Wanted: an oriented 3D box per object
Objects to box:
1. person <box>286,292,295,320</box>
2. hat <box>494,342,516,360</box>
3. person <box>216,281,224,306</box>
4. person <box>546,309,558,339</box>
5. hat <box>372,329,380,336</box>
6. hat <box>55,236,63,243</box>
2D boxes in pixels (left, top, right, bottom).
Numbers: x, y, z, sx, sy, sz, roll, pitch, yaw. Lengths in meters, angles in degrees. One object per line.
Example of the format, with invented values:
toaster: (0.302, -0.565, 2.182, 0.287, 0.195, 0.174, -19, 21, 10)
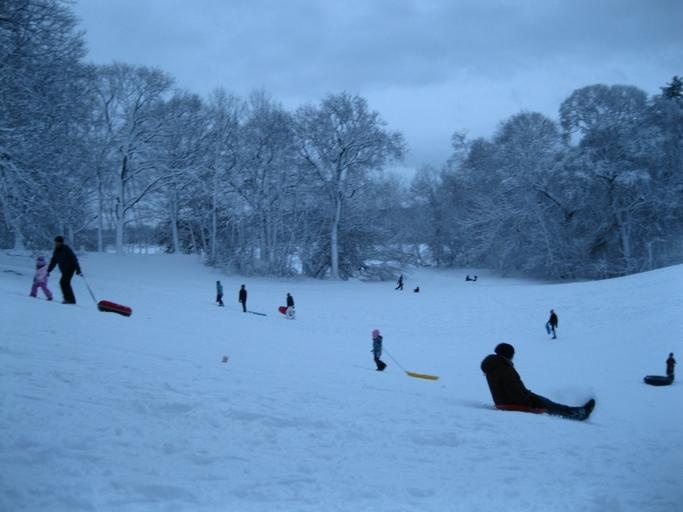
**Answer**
person: (-2.317, 2.295, 38.725, 0.476, 1.040, 0.707, 8, 9, -3)
hat: (5.280, 3.040, 26.619, 0.668, 0.545, 0.533, 26, -6, -13)
person: (-5.753, 1.777, 39.631, 0.403, 1.044, 2.206, 8, 8, -8)
person: (9.073, 2.841, 35.447, 0.494, 1.096, 1.209, 11, 9, 15)
hat: (1.335, 2.918, 31.815, 0.230, 0.250, 0.298, 1, 5, 1)
hat: (-10.424, -0.639, 30.691, 0.313, 0.313, 0.255, -9, -10, 44)
